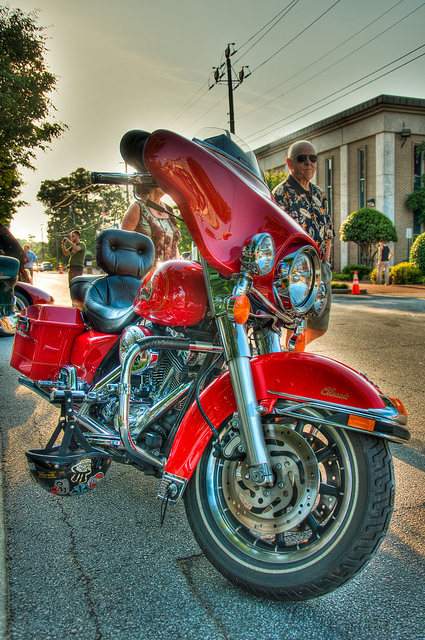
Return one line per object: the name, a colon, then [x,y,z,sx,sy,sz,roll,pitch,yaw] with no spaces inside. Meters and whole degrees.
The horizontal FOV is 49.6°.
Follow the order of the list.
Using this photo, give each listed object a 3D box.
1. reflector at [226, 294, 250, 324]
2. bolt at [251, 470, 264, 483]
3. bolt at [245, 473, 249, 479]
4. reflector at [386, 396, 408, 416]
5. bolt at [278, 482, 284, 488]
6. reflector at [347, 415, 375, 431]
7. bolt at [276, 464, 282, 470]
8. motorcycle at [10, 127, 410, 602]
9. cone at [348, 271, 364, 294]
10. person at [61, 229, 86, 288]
reflector: [0.085,-0.036,1.517,0.072,0.097,0.144,-1,2,-3]
bolt: [0.144,0.503,1.471,0.036,0.035,0.009,-4,-6,39]
bolt: [0.122,0.553,1.620,0.017,0.018,0.007,1,3,42]
reflector: [0.626,0.288,1.550,0.083,0.033,0.111,-1,2,-10]
bolt: [0.228,0.556,1.539,0.016,0.017,0.017,-27,-3,-11]
reflector: [0.463,0.322,1.429,0.055,0.048,0.015,8,-2,33]
bolt: [0.223,0.498,1.548,0.017,0.017,0.004,0,2,15]
motorcycle: [-0.148,0.138,2.018,1.910,1.842,0.617,1,3,43]
cone: [5.616,-1.434,17.950,0.757,0.938,0.721,-2,1,-10]
person: [-3.964,-1.528,13.005,0.637,2.008,0.701,2,0,-44]
